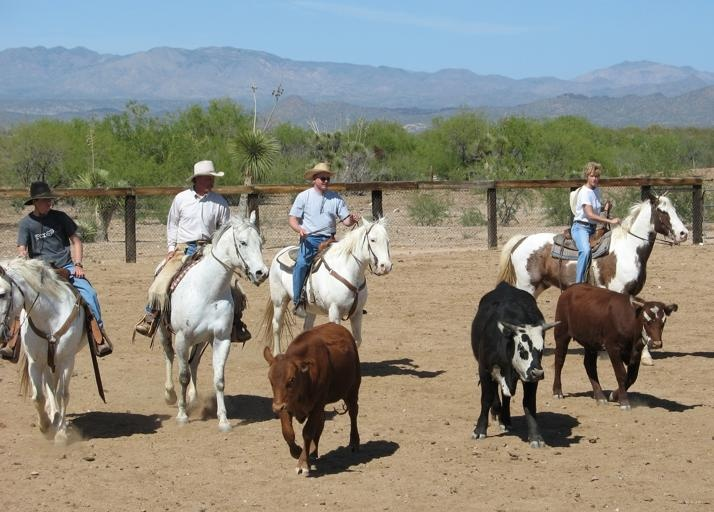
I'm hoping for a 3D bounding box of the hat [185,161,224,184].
[{"bbox_3d":[-2.524,-1.382,17.348,0.617,0.308,0.535,-9,-2,42],"label":"hat"}]

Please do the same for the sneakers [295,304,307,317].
[{"bbox_3d":[-0.969,0.928,18.551,0.159,0.354,0.259,4,-2,8],"label":"sneakers"}]

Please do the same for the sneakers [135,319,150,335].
[{"bbox_3d":[-3.425,1.112,17.214,0.160,0.254,0.430,-4,8,-37],"label":"sneakers"}]

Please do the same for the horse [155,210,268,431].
[{"bbox_3d":[-2.559,1.105,17.284,1.102,3.354,3.927,1,-5,-31],"label":"horse"}]

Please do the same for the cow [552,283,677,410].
[{"bbox_3d":[4.099,1.499,17.364,0.805,1.934,2.455,0,2,-31],"label":"cow"}]

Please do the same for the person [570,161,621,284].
[{"bbox_3d":[4.158,-0.599,19.060,0.658,2.118,0.785,2,6,11],"label":"person"}]

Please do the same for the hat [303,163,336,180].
[{"bbox_3d":[-0.643,-1.466,18.620,0.468,0.302,0.621,1,7,-3],"label":"hat"}]

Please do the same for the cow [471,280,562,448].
[{"bbox_3d":[2.271,1.639,15.914,0.968,2.260,1.642,0,6,-11],"label":"cow"}]

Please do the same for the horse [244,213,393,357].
[{"bbox_3d":[-0.654,0.657,18.916,0.862,2.655,3.330,-8,6,-43],"label":"horse"}]
